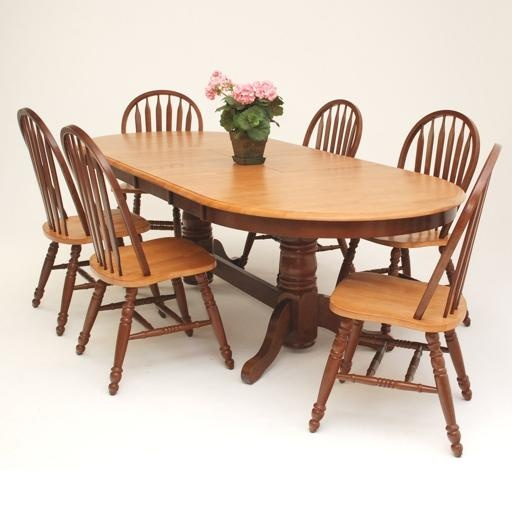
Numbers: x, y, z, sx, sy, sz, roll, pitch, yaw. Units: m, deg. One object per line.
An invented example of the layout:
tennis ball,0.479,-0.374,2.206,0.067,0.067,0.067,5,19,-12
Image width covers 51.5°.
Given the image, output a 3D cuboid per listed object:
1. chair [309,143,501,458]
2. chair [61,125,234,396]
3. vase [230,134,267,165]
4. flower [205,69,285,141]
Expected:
chair,0.557,0.143,1.780,0.603,1.054,0.545,10,29,9
chair,-0.437,0.008,2.184,0.643,1.086,0.646,-4,29,-17
vase,-0.054,-0.483,2.413,0.192,0.110,0.150,-5,18,-20
flower,-0.069,-0.666,2.361,0.380,0.274,0.230,20,31,29
